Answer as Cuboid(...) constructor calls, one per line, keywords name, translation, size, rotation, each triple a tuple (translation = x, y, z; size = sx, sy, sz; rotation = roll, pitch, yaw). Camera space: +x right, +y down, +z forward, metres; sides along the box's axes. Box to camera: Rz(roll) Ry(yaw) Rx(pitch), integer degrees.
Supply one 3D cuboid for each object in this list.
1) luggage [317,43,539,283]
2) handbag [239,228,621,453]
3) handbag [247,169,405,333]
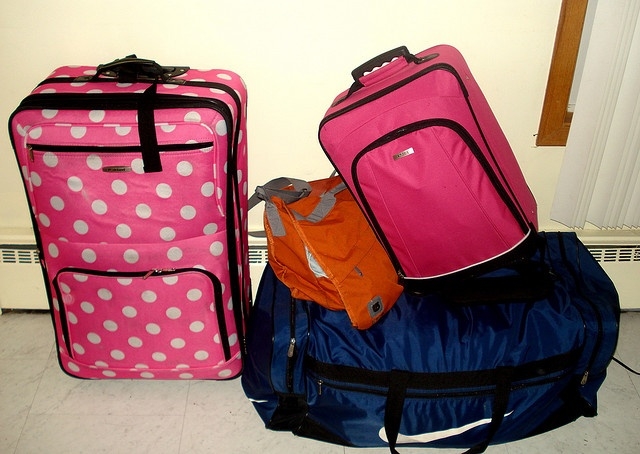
Cuboid(name="luggage", translation=(0.371, -0.201, 1.825), size=(0.543, 0.787, 0.423), rotation=(-21, 21, 27))
Cuboid(name="handbag", translation=(0.390, 0.424, 1.797), size=(1.013, 0.333, 0.771), rotation=(-1, 53, 4))
Cuboid(name="handbag", translation=(-0.027, 0.127, 1.954), size=(0.219, 0.545, 0.447), rotation=(-28, 9, 47))
